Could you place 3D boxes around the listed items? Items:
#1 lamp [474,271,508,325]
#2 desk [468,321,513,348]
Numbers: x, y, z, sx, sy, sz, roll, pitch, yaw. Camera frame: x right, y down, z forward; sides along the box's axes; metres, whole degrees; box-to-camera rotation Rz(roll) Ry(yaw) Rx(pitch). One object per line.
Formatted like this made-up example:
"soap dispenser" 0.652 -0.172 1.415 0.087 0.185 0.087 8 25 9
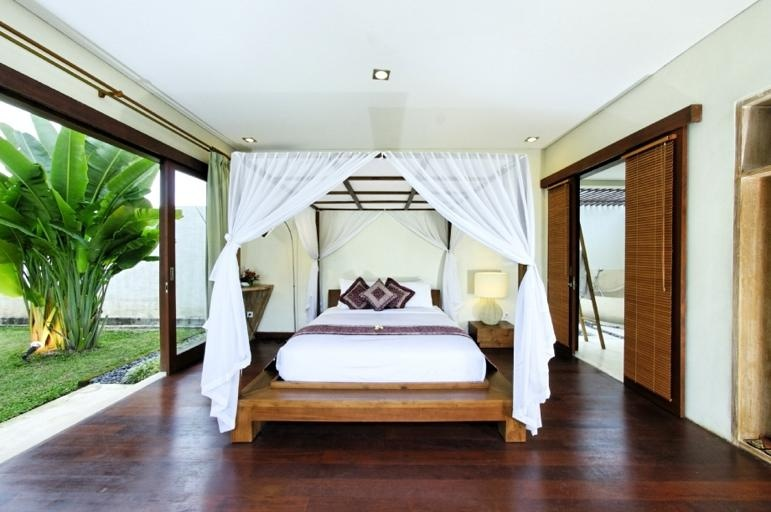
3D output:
"lamp" 1.521 0.628 7.171 0.481 0.739 0.452 -1 1 -34
"desk" 1.504 1.123 6.981 0.411 0.199 0.384 0 2 -14
